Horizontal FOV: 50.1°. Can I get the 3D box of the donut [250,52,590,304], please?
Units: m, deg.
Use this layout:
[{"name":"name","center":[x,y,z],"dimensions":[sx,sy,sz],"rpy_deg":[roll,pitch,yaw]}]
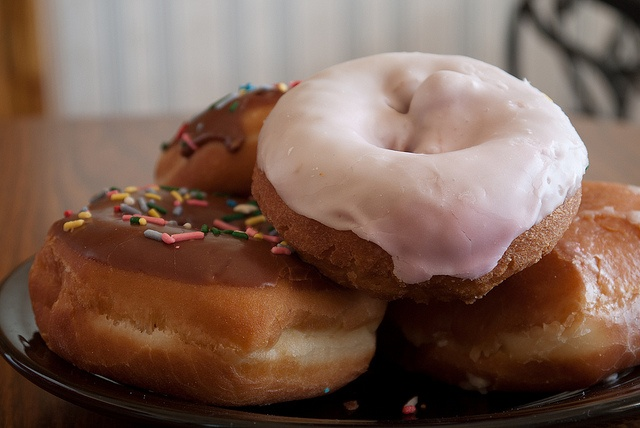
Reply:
[{"name":"donut","center":[0.131,-0.051,1.059],"dimensions":[0.463,0.199,0.432],"rpy_deg":[-8,38,-13]}]
